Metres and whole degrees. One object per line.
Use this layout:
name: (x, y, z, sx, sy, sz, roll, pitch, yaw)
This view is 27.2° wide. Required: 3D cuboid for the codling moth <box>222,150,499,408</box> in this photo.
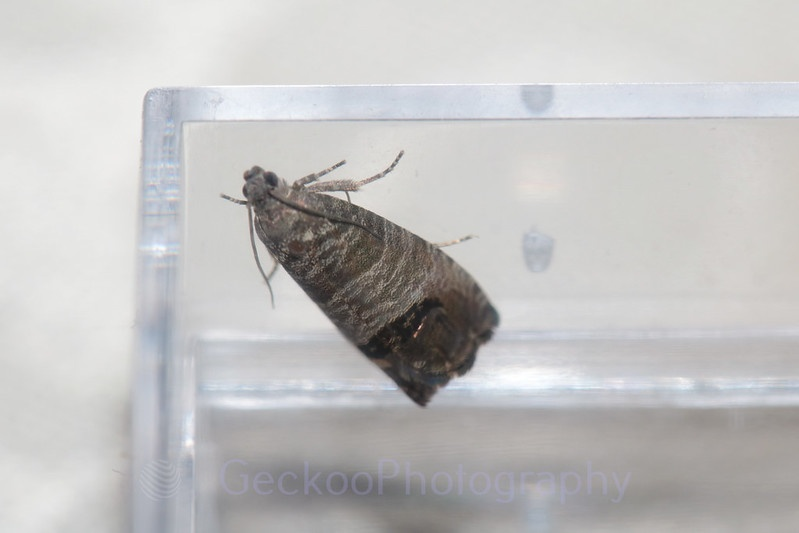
codling moth: (-0.092, 0.039, 4.478, 0.707, 0.674, 0.201, -6, 10, -6)
